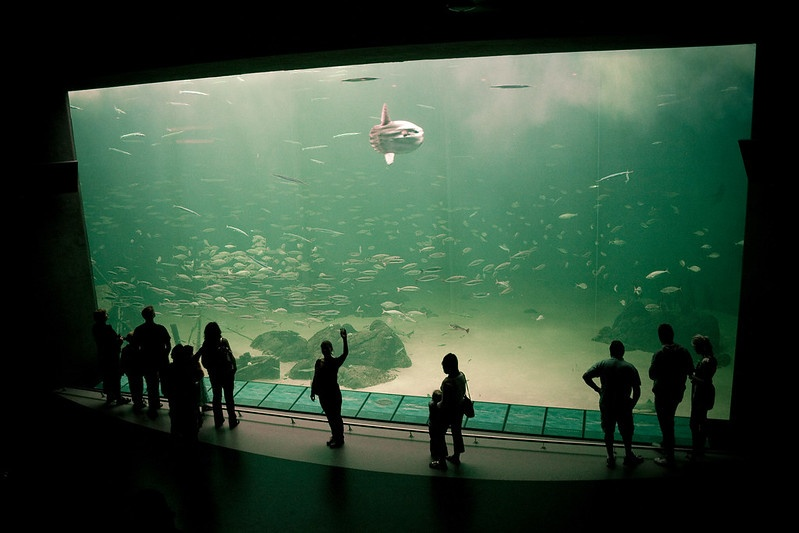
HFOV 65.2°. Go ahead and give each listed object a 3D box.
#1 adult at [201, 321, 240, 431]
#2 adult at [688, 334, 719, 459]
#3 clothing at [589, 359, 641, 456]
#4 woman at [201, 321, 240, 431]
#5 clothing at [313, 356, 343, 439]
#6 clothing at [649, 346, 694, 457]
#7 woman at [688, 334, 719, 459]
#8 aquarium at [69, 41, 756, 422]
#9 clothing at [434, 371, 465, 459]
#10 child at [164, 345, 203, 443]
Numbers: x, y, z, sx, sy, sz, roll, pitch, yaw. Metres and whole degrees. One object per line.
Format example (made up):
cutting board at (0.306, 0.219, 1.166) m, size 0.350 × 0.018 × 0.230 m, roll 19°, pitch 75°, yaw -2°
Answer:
adult at (-2.916, 1.765, 10.092) m, size 0.552 × 1.714 × 0.721 m, roll 0°, pitch -3°, yaw 15°
adult at (4.464, 1.939, 9.217) m, size 0.337 × 1.816 × 0.403 m, roll 0°, pitch -3°, yaw 22°
clothing at (3.163, 2.108, 9.335) m, size 0.753 × 1.468 × 0.311 m, roll 0°, pitch -3°, yaw 13°
woman at (-2.937, 1.764, 10.078) m, size 0.519 × 1.714 × 0.731 m, roll 0°, pitch -3°, yaw 26°
clothing at (-1.135, 2.115, 9.737) m, size 0.499 × 1.384 × 0.398 m, roll 1°, pitch -3°, yaw -1°
clothing at (3.987, 1.944, 9.462) m, size 0.766 × 1.684 × 0.583 m, roll 11°, pitch -13°, yaw -21°
woman at (4.464, 1.939, 9.217) m, size 0.337 × 1.816 × 0.403 m, roll 0°, pitch -3°, yaw 22°
aquarium at (0.766, -1.823, 24.453) m, size 23.726 × 11.048 × 0.198 m, roll 3°, pitch 10°, yaw 23°
clothing at (0.803, 2.238, 9.345) m, size 0.381 × 1.316 × 0.441 m, roll 0°, pitch -3°, yaw 16°
child at (-3.380, 1.997, 9.768) m, size 0.516 × 1.516 × 0.300 m, roll 2°, pitch -3°, yaw -16°
